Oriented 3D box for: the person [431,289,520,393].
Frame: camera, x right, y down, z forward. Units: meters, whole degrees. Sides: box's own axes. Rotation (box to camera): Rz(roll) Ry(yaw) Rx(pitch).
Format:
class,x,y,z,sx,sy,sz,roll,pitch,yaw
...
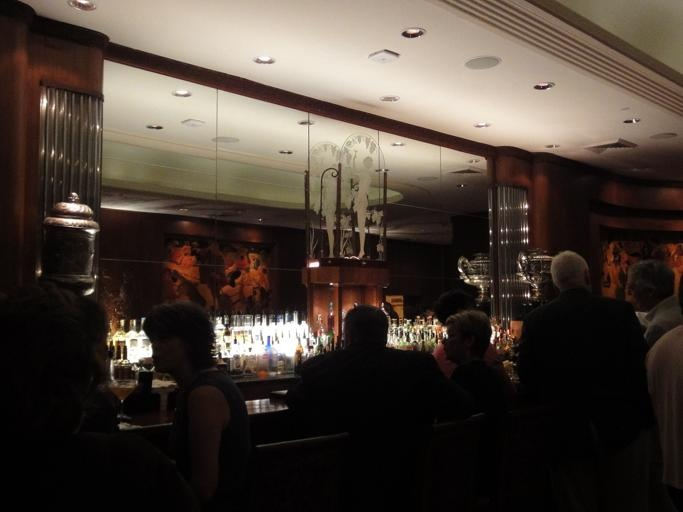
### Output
class,x,y,z,sx,sy,sz,roll,pitch,yaw
person,1.008,0.634,4.503,0.371,0.801,0.595,-26,3,-33
